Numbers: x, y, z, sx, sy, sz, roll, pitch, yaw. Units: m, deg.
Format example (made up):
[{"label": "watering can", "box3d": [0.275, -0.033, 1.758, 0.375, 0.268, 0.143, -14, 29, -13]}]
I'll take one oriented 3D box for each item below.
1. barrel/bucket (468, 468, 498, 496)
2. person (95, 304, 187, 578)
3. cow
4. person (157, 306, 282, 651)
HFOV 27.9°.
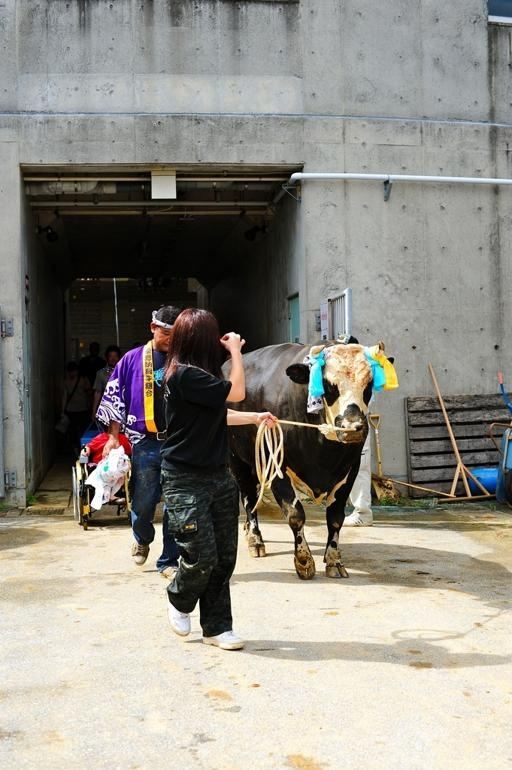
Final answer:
[{"label": "barrel/bucket", "box3d": [2.135, 0.914, 9.634, 0.256, 0.163, 0.272, -1, -5, 0]}, {"label": "person", "box3d": [-0.699, 0.298, 5.937, 0.593, 1.428, 0.665, 0, 0, -24]}, {"label": "cow", "box3d": [0.586, 0.302, 6.670, 0.614, 1.166, 1.987, -1, -3, -16]}, {"label": "person", "box3d": [-0.174, 0.401, 4.797, 0.667, 1.342, 0.515, 0, 0, 29]}]
